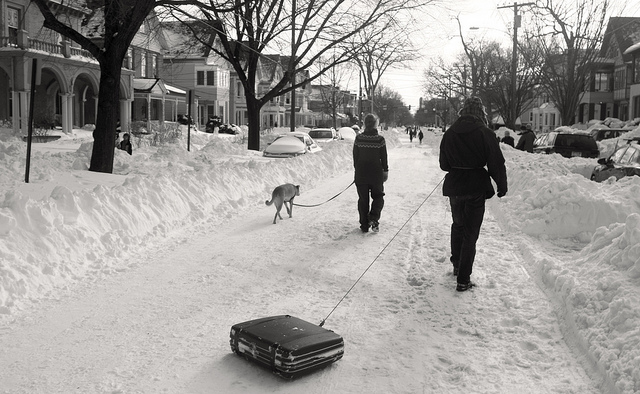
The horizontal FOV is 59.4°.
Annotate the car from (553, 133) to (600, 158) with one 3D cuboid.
[{"bbox_3d":[10.994,-2.157,24.103,1.153,1.166,2.138,2,18,6],"label":"car"}]

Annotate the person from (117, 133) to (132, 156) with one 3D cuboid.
[{"bbox_3d":[-7.582,-2.062,21.661,0.465,0.806,1.577,-4,10,-20],"label":"person"}]

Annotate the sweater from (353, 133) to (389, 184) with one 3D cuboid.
[{"bbox_3d":[1.187,-0.908,13.457,0.807,1.204,0.392,0,9,2],"label":"sweater"}]

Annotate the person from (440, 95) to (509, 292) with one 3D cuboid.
[{"bbox_3d":[2.799,-0.080,10.364,0.972,3.427,0.869,-2,9,-8],"label":"person"}]

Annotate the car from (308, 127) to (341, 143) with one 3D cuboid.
[{"bbox_3d":[0.270,-4.296,38.282,1.064,1.032,2.053,1,1,9],"label":"car"}]

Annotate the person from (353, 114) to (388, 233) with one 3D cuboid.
[{"bbox_3d":[1.160,-0.585,13.412,0.780,2.722,0.926,3,9,22],"label":"person"}]

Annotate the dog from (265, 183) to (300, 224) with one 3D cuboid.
[{"bbox_3d":[-0.920,0.136,14.199,0.379,0.908,1.478,6,11,29],"label":"dog"}]

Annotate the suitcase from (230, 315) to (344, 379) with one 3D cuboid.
[{"bbox_3d":[-0.544,2.252,8.606,1.430,0.566,1.634,3,3,-36],"label":"suitcase"}]
